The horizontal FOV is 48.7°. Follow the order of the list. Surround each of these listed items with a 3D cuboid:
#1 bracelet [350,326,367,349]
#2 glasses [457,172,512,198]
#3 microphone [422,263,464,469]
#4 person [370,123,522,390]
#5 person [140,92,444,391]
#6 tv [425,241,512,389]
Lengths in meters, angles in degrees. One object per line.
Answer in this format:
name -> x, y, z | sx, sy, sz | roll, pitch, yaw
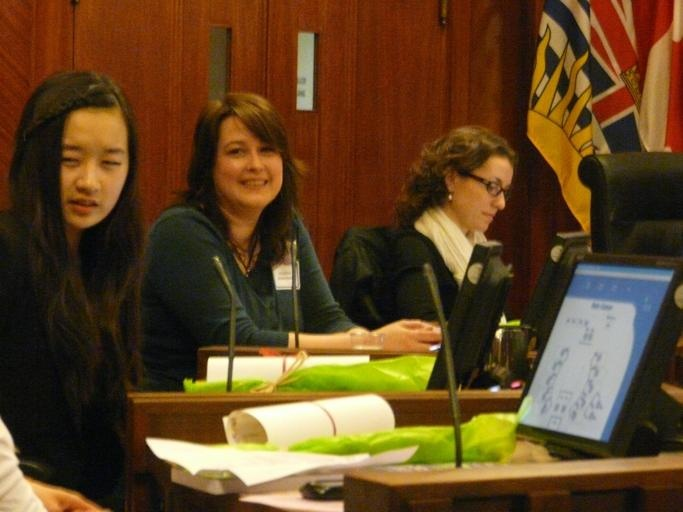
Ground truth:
bracelet -> 0.047, 0.223, 2.079 | 0.041, 0.053, 0.045 | -1, -3, 6
glasses -> 0.624, -0.320, 3.276 | 0.131, 0.042, 0.131 | 32, 8, 30
microphone -> 0.183, 0.197, 1.394 | 0.022, 0.288, 0.036 | -8, -12, 20
person -> 0.473, 0.277, 3.281 | 0.522, 1.774, 0.539 | 4, -16, -1
person -> -0.238, 0.040, 2.499 | 0.860, 1.101, 0.584 | -6, -2, 42
tv -> 0.269, 0.131, 1.631 | 0.038, 0.288, 0.271 | 20, -2, 26
